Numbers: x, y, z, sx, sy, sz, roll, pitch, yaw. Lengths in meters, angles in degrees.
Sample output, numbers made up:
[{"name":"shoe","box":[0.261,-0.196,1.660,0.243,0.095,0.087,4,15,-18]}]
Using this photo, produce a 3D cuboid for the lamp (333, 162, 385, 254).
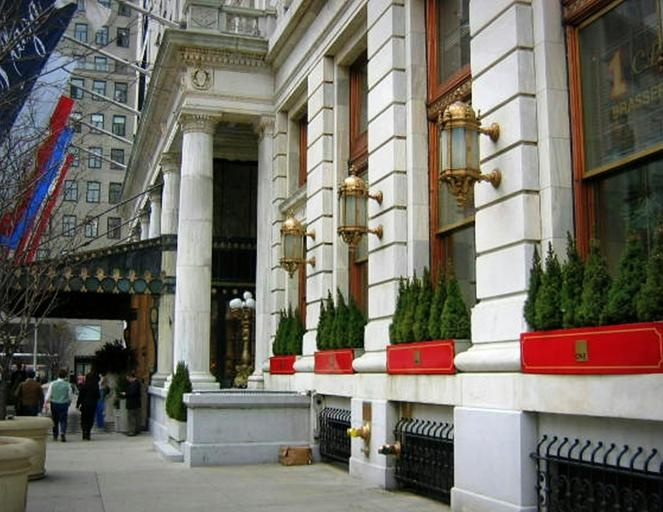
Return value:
[{"name":"lamp","box":[0.582,-1.030,18.335,0.912,1.745,1.599,1,-11,-2]}]

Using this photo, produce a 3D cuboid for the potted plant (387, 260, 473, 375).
[{"name":"potted plant","box":[1.778,1.340,15.749,0.668,1.727,1.783,9,-13,-39]}]

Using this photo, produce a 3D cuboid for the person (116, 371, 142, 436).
[{"name":"person","box":[-6.447,4.797,27.625,0.899,2.000,0.952,1,-7,-32]}]

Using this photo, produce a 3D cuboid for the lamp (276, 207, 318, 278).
[{"name":"lamp","box":[-0.824,-0.258,21.429,0.714,1.629,0.593,2,-3,-4]}]
